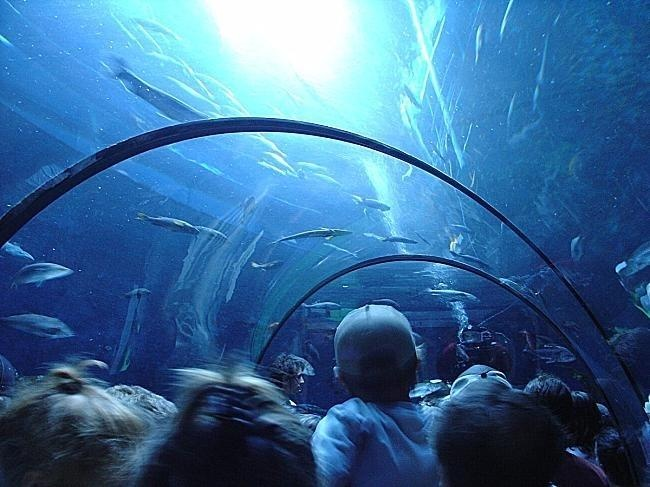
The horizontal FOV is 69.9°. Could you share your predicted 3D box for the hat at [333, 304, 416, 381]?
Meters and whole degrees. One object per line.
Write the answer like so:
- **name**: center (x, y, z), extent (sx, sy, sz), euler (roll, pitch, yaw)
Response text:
- **hat**: center (0.545, 0.986, 4.925), extent (0.949, 0.813, 0.435), euler (-4, -68, 11)
